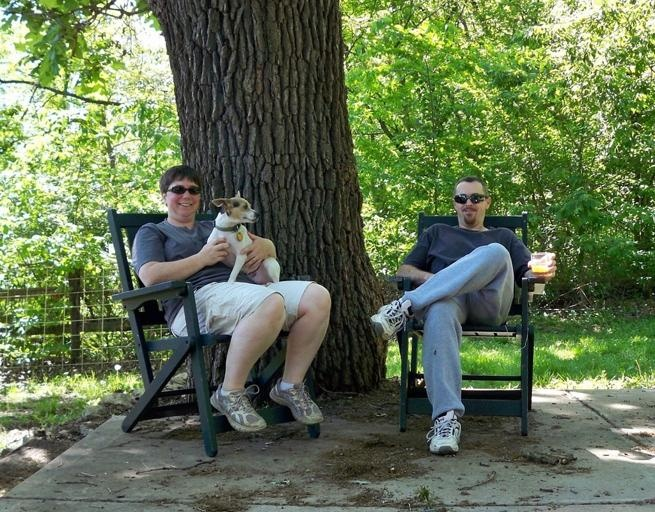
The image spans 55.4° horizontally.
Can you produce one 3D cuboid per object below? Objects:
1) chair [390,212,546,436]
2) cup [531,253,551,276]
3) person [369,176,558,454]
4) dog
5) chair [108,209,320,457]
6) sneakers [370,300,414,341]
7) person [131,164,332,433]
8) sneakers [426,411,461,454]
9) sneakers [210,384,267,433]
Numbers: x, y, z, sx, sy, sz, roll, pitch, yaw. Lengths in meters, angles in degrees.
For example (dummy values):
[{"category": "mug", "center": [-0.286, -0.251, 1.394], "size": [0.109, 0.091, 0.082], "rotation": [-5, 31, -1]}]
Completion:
[{"category": "chair", "center": [0.976, 0.393, 4.261], "size": [1.112, 1.522, 1.154], "rotation": [0, 0, 5]}, {"category": "cup", "center": [1.374, 0.050, 4.002], "size": [0.137, 0.136, 0.138], "rotation": [0, -2, 0]}, {"category": "person", "center": [0.875, 0.265, 4.144], "size": [1.046, 1.723, 1.333], "rotation": [-1, 0, 19]}, {"category": "dog", "center": [-0.616, -0.060, 4.298], "size": [0.371, 0.646, 0.711], "rotation": [6, -12, 9]}, {"category": "chair", "center": [-0.537, 0.452, 4.675], "size": [1.442, 2.034, 1.430], "rotation": [0, 0, 43]}, {"category": "sneakers", "center": [0.413, 0.390, 4.071], "size": [0.294, 0.183, 0.134], "rotation": [-41, 5, -6]}, {"category": "person", "center": [-0.628, 0.224, 3.948], "size": [1.167, 1.353, 0.673], "rotation": [-1, 0, 36]}, {"category": "sneakers", "center": [0.676, 1.015, 3.624], "size": [0.176, 0.150, 0.197], "rotation": [-1, 0, 7]}, {"category": "sneakers", "center": [-0.533, 0.881, 3.731], "size": [0.397, 0.173, 0.187], "rotation": [31, 17, 20]}]
